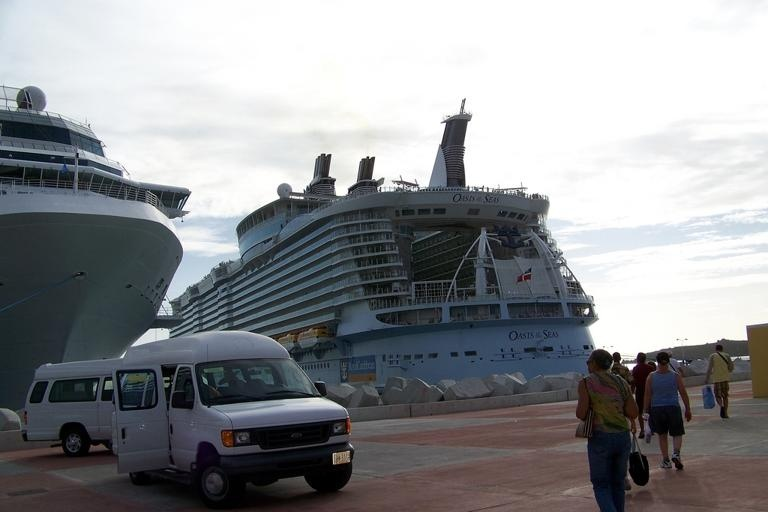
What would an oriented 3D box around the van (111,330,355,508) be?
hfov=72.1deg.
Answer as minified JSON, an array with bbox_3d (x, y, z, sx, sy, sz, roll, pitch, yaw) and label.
[{"bbox_3d":[-3.230,2.688,9.792,3.516,1.808,4.353,6,-13,-37],"label":"van"}]

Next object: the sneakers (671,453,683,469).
[{"bbox_3d":[4.918,3.438,8.831,0.134,0.144,0.320,-13,-50,30],"label":"sneakers"}]

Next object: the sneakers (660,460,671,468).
[{"bbox_3d":[4.814,3.548,9.000,0.098,0.081,0.214,0,-3,14],"label":"sneakers"}]

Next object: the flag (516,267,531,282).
[{"bbox_3d":[9.511,1.339,35.799,1.103,0.913,0.083,13,24,12],"label":"flag"}]
